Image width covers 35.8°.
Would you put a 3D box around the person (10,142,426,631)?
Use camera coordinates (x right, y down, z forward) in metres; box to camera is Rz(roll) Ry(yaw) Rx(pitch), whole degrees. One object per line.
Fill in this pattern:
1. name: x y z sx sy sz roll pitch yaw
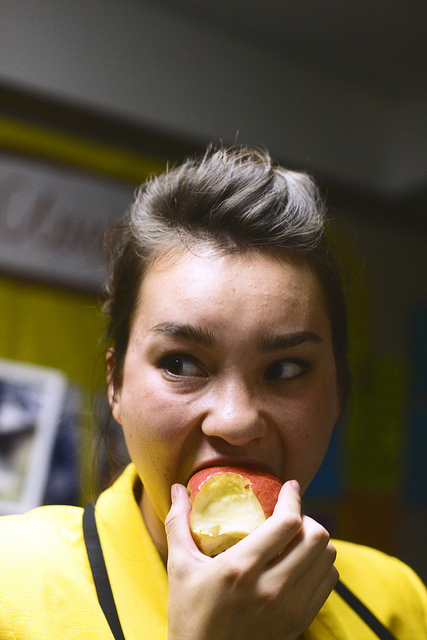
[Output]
1. person: 0.001 0.058 1.438 0.662 1.128 0.615 3 -10 22

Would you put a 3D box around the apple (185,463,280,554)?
1. apple: 0.027 0.319 1.193 0.148 0.148 0.153 36 -19 19
